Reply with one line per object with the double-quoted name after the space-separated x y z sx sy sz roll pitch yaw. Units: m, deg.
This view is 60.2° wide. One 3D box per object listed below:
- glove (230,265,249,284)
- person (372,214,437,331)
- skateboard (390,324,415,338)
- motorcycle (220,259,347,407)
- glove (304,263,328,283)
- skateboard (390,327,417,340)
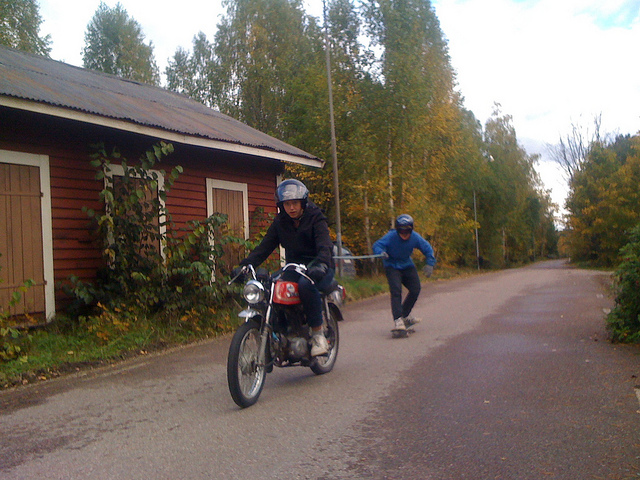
-1.086 0.466 7.407 0.206 0.248 1.093 -5 0 -10 "glove"
1.520 0.606 10.008 1.093 2.161 1.156 3 2 27 "person"
1.459 1.647 9.903 0.164 0.249 0.470 -4 -8 26 "skateboard"
-0.595 1.103 7.081 0.955 1.321 2.136 -7 -5 27 "motorcycle"
-0.046 0.395 6.753 0.290 0.219 0.241 -5 0 -2 "glove"
1.497 1.660 9.845 0.184 0.261 0.518 -11 -7 41 "skateboard"
